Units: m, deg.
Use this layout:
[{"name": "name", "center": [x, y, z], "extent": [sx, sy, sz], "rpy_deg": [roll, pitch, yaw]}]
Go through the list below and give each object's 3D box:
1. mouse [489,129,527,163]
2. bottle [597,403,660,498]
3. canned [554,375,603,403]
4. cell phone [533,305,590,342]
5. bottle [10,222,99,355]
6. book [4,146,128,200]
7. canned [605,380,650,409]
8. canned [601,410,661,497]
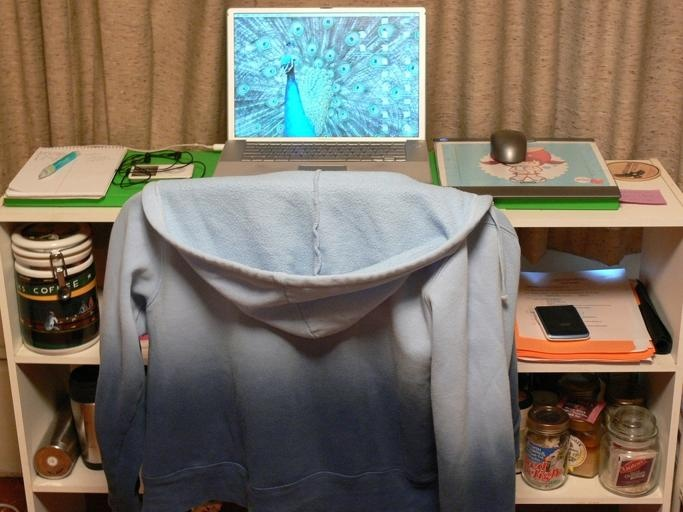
[{"name": "mouse", "center": [0.387, -0.255, 1.438], "extent": [0.081, 0.061, 0.081], "rpy_deg": [10, 36, 20]}, {"name": "bottle", "center": [0.689, 0.462, 1.473], "extent": [0.151, 0.184, 0.148], "rpy_deg": [11, 27, 29]}, {"name": "canned", "center": [0.595, 0.327, 1.522], "extent": [0.077, 0.066, 0.072], "rpy_deg": [2, 23, 14]}, {"name": "cell phone", "center": [0.507, 0.153, 1.407], "extent": [0.098, 0.040, 0.109], "rpy_deg": [-2, 20, -2]}, {"name": "bottle", "center": [-0.651, 0.079, 1.409], "extent": [0.180, 0.260, 0.164], "rpy_deg": [-3, 25, -15]}, {"name": "book", "center": [-0.619, -0.190, 1.387], "extent": [0.187, 0.032, 0.191], "rpy_deg": [0, 34, 3]}, {"name": "canned", "center": [0.716, 0.332, 1.526], "extent": [0.078, 0.069, 0.073], "rpy_deg": [-3, 17, 2]}, {"name": "canned", "center": [0.678, 0.466, 1.473], "extent": [0.128, 0.180, 0.133], "rpy_deg": [-11, 26, -17]}]
